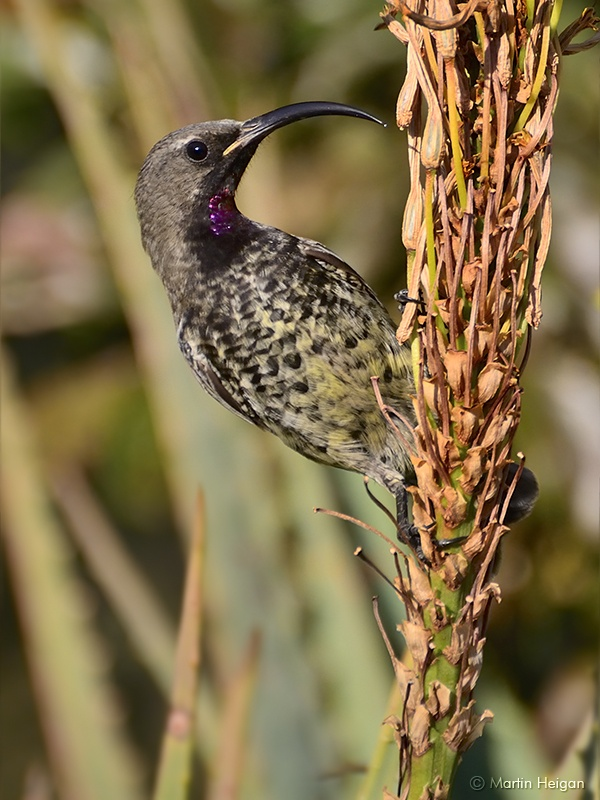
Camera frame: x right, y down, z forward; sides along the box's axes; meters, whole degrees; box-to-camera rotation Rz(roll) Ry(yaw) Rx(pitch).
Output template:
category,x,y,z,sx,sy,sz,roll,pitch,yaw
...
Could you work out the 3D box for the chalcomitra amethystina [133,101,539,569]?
category,x,y,z,sx,sy,sz,roll,pitch,yaw
chalcomitra amethystina,0.007,-0.088,0.938,0.202,0.340,0.442,-25,40,-20
